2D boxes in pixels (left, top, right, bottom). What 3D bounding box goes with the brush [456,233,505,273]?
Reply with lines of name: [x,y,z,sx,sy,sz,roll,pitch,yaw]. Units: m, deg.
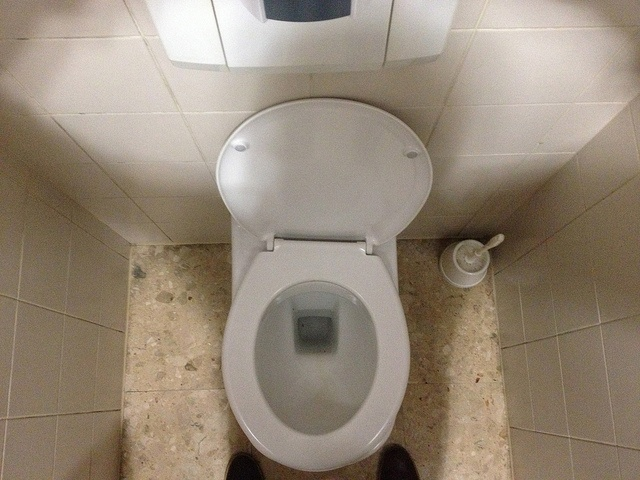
brush: [0.569,0.048,1.809,0.159,0.149,0.165,5,30,4]
